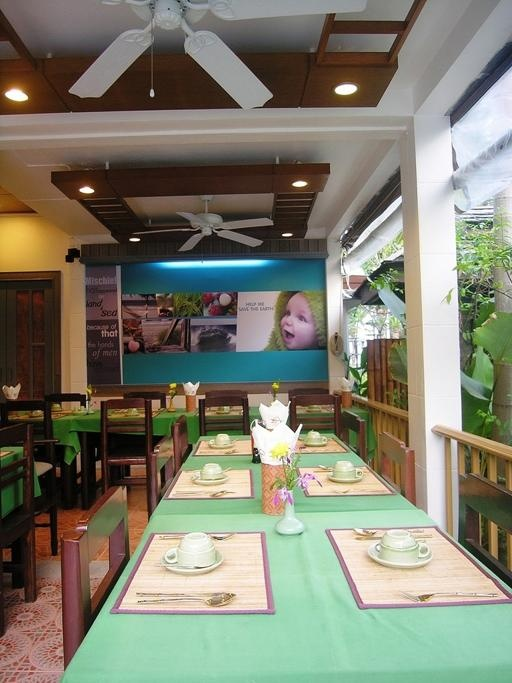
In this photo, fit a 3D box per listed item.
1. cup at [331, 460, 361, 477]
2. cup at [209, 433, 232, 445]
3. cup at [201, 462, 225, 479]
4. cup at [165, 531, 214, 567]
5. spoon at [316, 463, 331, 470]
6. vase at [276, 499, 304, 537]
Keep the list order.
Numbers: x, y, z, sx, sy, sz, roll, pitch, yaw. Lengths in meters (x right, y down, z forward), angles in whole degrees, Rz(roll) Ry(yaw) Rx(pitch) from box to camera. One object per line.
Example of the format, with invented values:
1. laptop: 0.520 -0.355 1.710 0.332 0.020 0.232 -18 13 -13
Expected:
1. cup: 0.370 0.499 1.964 0.088 0.054 0.066 3 -6 8
2. cup: -0.186 0.548 2.729 0.090 0.036 0.083 0 -5 0
3. cup: -0.176 0.525 2.010 0.064 0.043 0.063 0 -4 0
4. cup: -0.157 0.482 1.153 0.092 0.051 0.067 -3 -6 17
5. spoon: 0.297 0.545 2.142 0.017 0.014 0.097 -5 -9 44
6. vase: 0.085 0.509 1.410 0.088 0.121 0.085 -7 -27 21
